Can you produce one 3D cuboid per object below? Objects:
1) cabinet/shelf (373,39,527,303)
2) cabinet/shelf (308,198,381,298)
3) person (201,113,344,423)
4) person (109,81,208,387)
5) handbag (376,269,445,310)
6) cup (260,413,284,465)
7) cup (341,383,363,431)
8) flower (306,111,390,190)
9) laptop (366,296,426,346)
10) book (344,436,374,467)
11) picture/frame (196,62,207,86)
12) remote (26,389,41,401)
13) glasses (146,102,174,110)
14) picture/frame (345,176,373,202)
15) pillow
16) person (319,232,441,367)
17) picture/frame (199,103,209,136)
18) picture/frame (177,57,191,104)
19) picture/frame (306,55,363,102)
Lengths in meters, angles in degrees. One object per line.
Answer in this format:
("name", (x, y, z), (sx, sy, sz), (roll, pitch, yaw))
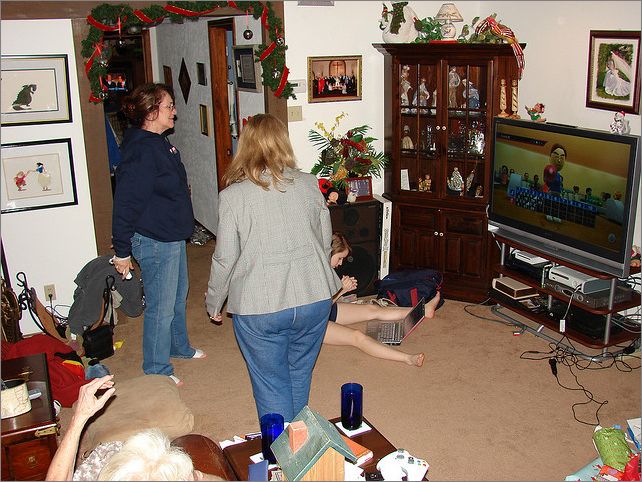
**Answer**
("cabinet/shelf", (1.290, -0.709, 4.939), (1.229, 2.506, 0.629), (9, 28, 29))
("cabinet/shelf", (0.345, 0.116, 4.822), (0.541, 0.954, 0.275), (-3, -5, 16))
("person", (-0.228, 0.188, 2.545), (0.739, 1.670, 0.465), (-6, 15, -15))
("person", (-1.172, -0.017, 3.464), (0.407, 2.155, 0.643), (4, 15, 21))
("handbag", (0.836, 0.431, 4.529), (0.420, 0.183, 0.438), (0, 7, 24))
("cup", (-0.209, 0.865, 2.119), (0.105, 0.168, 0.151), (-5, 15, -10))
("cup", (0.151, 0.800, 2.292), (0.104, 0.179, 0.106), (0, -2, 0))
("flower", (0.269, -0.793, 5.039), (0.736, 0.784, 0.764), (-1, -19, 1))
("laptop", (0.620, 0.662, 4.064), (0.448, 0.290, 0.432), (7, 14, 9))
("book", (0.159, 0.909, 2.085), (0.120, 0.030, 0.123), (28, 11, 38))
("picture/frame", (-1.447, -2.057, 5.859), (0.033, 0.323, 0.306), (-10, 12, -34))
("remote", (-1.437, 0.771, 2.418), (0.048, 0.012, 0.050), (11, 17, 27))
("glasses", (-1.086, -0.942, 3.347), (0.079, 0.043, 0.223), (4, 16, 20))
("picture/frame", (0.368, -0.517, 4.750), (0.249, 0.222, 0.018), (3, -10, -27))
("pillow", (-1.122, 1.052, 3.022), (0.678, 0.236, 0.772), (-1, 17, -4))
("person", (0.381, 0.428, 4.060), (1.098, 0.906, 0.627), (7, 21, 19))
("picture/frame", (-1.442, -1.536, 5.986), (0.029, 0.391, 0.372), (-9, 14, -25))
("picture/frame", (-1.803, -2.173, 6.405), (0.031, 0.680, 0.544), (-4, 12, -22))
("picture/frame", (0.113, -1.622, 4.732), (0.467, 0.347, 0.021), (-6, 14, -22))
